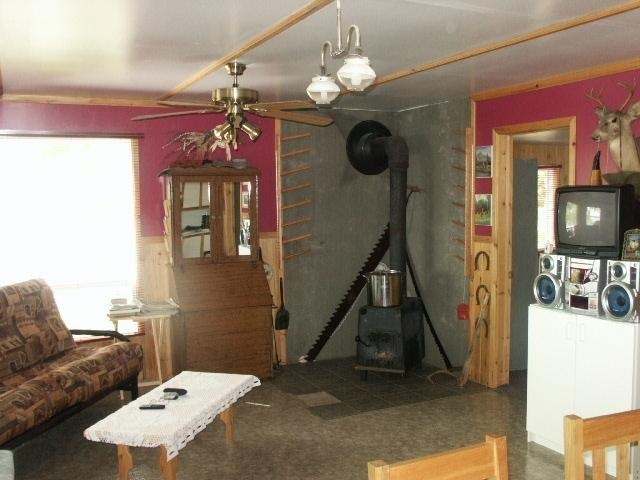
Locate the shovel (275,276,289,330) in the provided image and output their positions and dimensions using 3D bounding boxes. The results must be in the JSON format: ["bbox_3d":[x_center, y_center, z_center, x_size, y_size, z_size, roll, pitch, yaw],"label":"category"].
[{"bbox_3d":[-0.494,0.806,6.974,0.169,0.637,0.207,-1,8,-4],"label":"shovel"}]

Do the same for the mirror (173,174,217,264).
[{"bbox_3d":[-1.362,-0.232,6.241,0.441,0.949,0.123,-3,-5,19],"label":"mirror"}]

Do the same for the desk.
[{"bbox_3d":[-2.176,1.134,6.031,0.674,0.809,0.640,10,13,32],"label":"desk"}]

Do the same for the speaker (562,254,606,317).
[{"bbox_3d":[2.117,0.364,4.465,0.133,0.442,0.339,-5,9,-29],"label":"speaker"}]

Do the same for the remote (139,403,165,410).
[{"bbox_3d":[-1.260,1.243,4.146,0.131,0.014,0.069,0,-3,-2],"label":"remote"}]

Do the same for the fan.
[{"bbox_3d":[-0.542,-1.011,3.796,1.170,0.318,1.013,9,14,34],"label":"fan"}]

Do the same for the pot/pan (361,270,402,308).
[{"bbox_3d":[0.731,0.559,6.363,0.472,0.340,0.403,0,-1,7],"label":"pot/pan"}]

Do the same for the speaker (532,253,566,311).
[{"bbox_3d":[1.929,0.348,4.760,0.293,0.410,0.259,6,-5,7],"label":"speaker"}]

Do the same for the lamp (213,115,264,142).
[{"bbox_3d":[-0.568,-0.760,3.832,0.231,0.162,0.314,4,8,36],"label":"lamp"}]
